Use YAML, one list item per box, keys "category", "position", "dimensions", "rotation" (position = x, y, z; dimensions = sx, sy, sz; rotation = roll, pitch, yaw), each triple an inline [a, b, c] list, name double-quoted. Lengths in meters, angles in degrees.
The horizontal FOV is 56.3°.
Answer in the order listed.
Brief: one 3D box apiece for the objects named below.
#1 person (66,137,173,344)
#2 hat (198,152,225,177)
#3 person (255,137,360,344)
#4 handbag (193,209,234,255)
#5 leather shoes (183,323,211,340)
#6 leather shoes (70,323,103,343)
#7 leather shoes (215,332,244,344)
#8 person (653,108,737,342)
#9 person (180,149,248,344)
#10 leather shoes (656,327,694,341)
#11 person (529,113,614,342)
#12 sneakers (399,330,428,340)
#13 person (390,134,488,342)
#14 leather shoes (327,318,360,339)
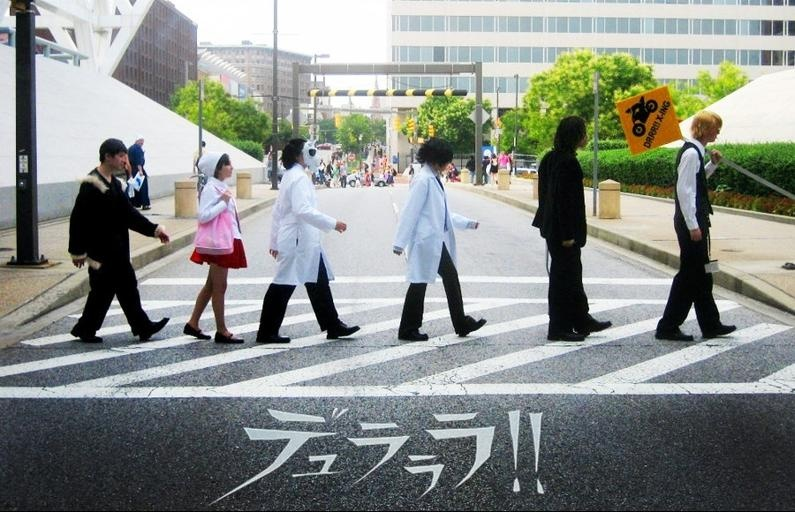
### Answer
- category: "person"
  position: [-3.386, -0.146, 8.770]
  dimensions: [1.020, 2.399, 0.632]
  rotation: [-5, 10, -26]
- category: "hat"
  position: [-2.212, -1.085, 8.804]
  dimensions: [0.291, 0.331, 0.235]
  rotation: [12, 11, -10]
- category: "person"
  position: [-1.142, -0.149, 8.795]
  dimensions: [1.109, 2.400, 0.876]
  rotation: [-1, 9, -5]
- category: "handbag"
  position: [-2.140, -0.270, 8.683]
  dimensions: [0.361, 0.689, 0.321]
  rotation: [3, -21, 1]
- category: "leather shoes"
  position: [-2.480, 0.931, 9.122]
  dimensions: [0.233, 0.102, 0.083]
  rotation: [23, 25, -33]
- category: "leather shoes"
  position: [-3.717, 0.927, 8.917]
  dimensions: [0.417, 0.201, 0.184]
  rotation: [14, 12, -13]
- category: "leather shoes"
  position: [-2.027, 0.967, 8.915]
  dimensions: [0.358, 0.157, 0.133]
  rotation: [0, 3, -6]
- category: "person"
  position: [3.493, -0.316, 8.719]
  dimensions: [0.713, 2.679, 0.442]
  rotation: [-2, 9, -11]
- category: "person"
  position: [-2.213, -0.092, 8.923]
  dimensions: [0.718, 2.241, 0.679]
  rotation: [-3, 10, -17]
- category: "leather shoes"
  position: [3.301, 0.924, 8.955]
  dimensions: [0.475, 0.206, 0.170]
  rotation: [2, 5, 5]
- category: "person"
  position: [2.025, -0.305, 8.833]
  dimensions: [0.816, 2.643, 0.488]
  rotation: [2, 10, 15]
- category: "sneakers"
  position: [0.198, 0.969, 9.061]
  dimensions: [0.376, 0.165, 0.134]
  rotation: [-1, -2, 1]
- category: "person"
  position: [0.457, -0.196, 9.028]
  dimensions: [0.947, 2.407, 0.748]
  rotation: [1, 9, 6]
- category: "leather shoes"
  position: [-0.687, 0.886, 9.141]
  dimensions: [0.494, 0.266, 0.182]
  rotation: [-6, 6, -1]
